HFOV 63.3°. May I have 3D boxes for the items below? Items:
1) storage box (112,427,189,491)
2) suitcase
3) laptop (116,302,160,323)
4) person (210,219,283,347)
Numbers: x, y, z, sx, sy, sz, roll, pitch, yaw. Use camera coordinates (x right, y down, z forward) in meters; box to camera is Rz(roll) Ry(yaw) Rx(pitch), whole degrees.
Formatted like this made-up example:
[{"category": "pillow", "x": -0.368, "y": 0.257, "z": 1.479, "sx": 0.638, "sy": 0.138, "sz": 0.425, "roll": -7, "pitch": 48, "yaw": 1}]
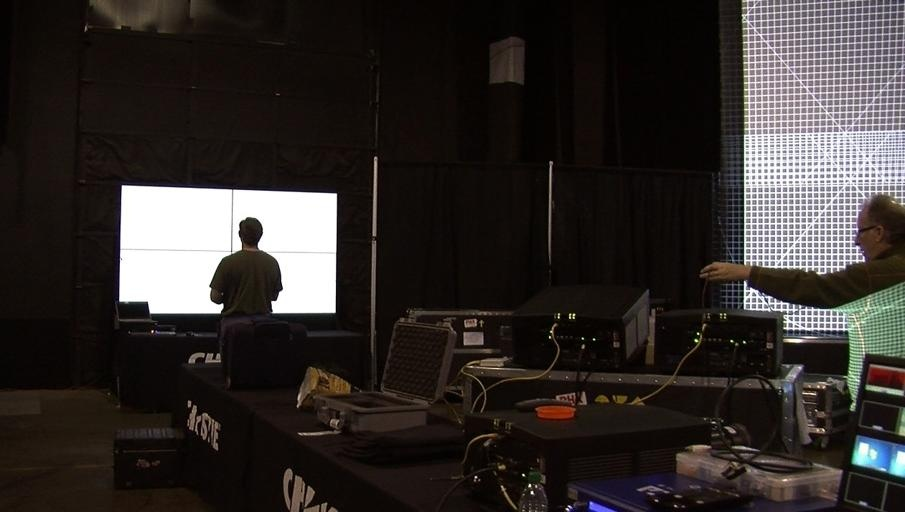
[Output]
[{"category": "storage box", "x": -2.818, "y": 1.929, "z": 7.018, "sx": 0.684, "sy": 0.487, "sz": 0.391, "roll": -4, "pitch": -4, "yaw": 5}, {"category": "suitcase", "x": -0.535, "y": 0.836, "z": 5.564, "sx": 0.929, "sy": 0.731, "sz": 0.869, "roll": 2, "pitch": -2, "yaw": -31}, {"category": "laptop", "x": -3.864, "y": 0.695, "z": 8.950, "sx": 0.427, "sy": 0.277, "sz": 0.234, "roll": 0, "pitch": 0, "yaw": -21}, {"category": "person", "x": -2.202, "y": 0.200, "z": 7.839, "sx": 0.704, "sy": 1.205, "sz": 0.417, "roll": 0, "pitch": 0, "yaw": -12}]
